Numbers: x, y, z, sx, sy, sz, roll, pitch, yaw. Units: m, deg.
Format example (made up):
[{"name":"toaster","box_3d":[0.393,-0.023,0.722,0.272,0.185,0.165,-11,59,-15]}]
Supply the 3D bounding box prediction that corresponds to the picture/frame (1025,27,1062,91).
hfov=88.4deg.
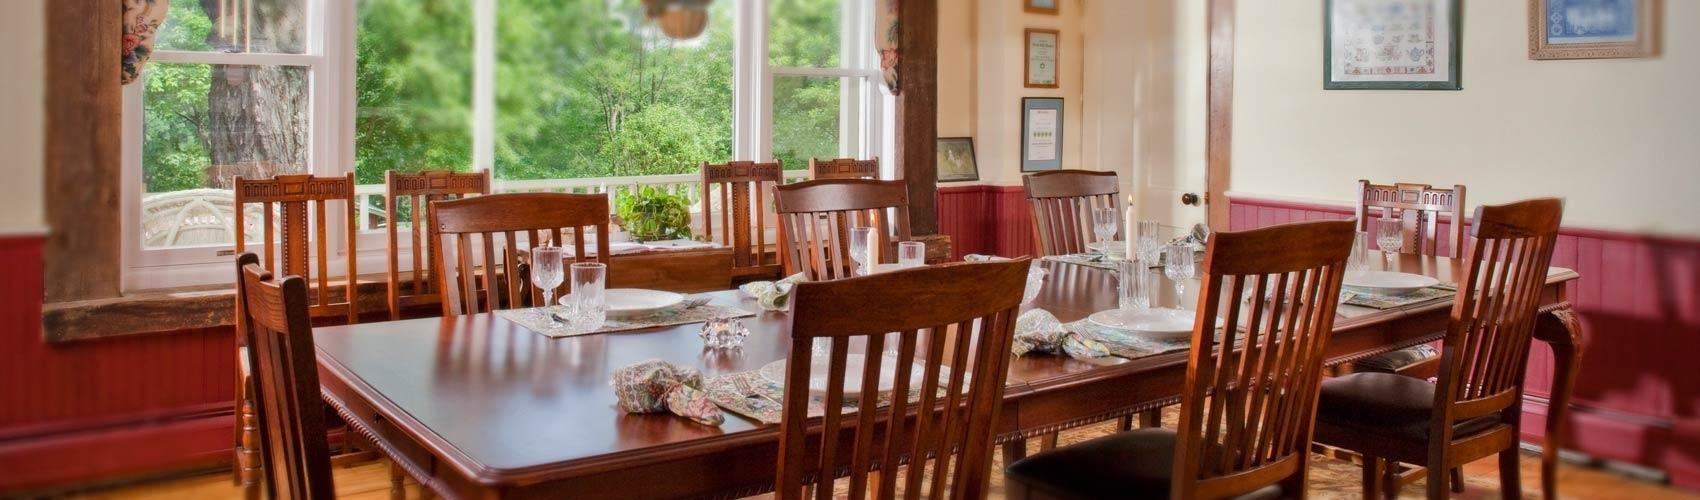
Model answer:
[{"name":"picture/frame","box_3d":[2.382,-2.422,10.968,0.599,0.751,0.180,-12,18,-27]}]

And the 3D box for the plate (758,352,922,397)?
[{"name":"plate","box_3d":[-0.093,1.030,7.172,1.381,0.314,0.502,-2,13,-1]}]

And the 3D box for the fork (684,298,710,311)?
[{"name":"fork","box_3d":[-1.406,0.497,8.057,0.119,0.038,0.151,-12,-11,-23]}]

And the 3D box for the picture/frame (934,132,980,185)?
[{"name":"picture/frame","box_3d":[1.310,-1.160,10.953,1.021,0.560,0.098,-4,-3,-33]}]
